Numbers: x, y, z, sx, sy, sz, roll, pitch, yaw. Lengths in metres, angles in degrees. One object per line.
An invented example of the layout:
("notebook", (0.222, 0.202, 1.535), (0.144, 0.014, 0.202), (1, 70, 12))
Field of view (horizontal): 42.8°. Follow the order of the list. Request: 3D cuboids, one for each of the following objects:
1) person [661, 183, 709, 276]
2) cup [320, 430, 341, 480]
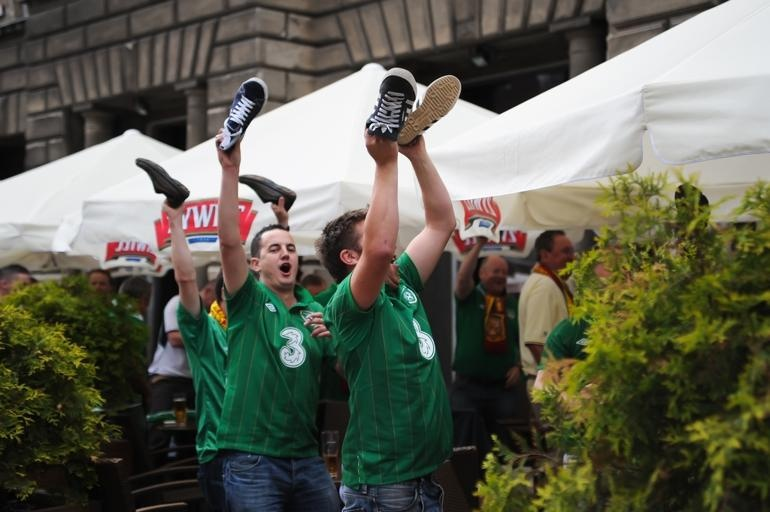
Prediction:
("person", (1.745, -0.158, 5.593), (0.191, 0.520, 0.738), (-5, -7, 18))
("cup", (-0.476, 1.595, 7.907), (0.213, 0.370, 0.223), (-1, -10, 0))
